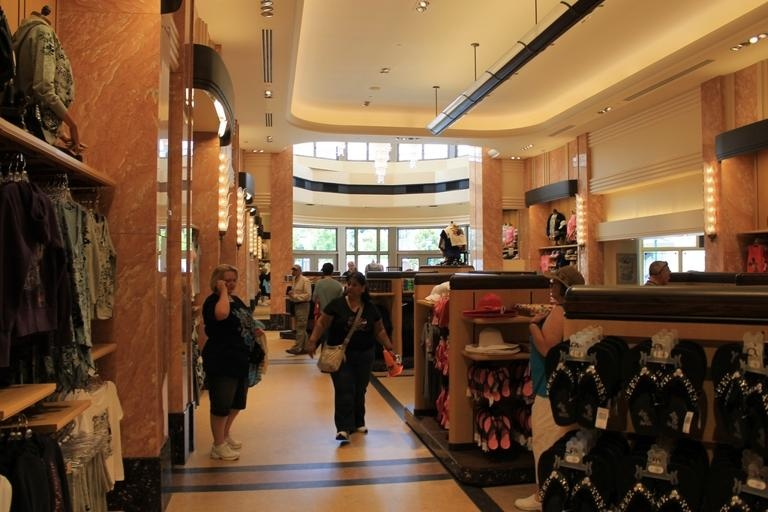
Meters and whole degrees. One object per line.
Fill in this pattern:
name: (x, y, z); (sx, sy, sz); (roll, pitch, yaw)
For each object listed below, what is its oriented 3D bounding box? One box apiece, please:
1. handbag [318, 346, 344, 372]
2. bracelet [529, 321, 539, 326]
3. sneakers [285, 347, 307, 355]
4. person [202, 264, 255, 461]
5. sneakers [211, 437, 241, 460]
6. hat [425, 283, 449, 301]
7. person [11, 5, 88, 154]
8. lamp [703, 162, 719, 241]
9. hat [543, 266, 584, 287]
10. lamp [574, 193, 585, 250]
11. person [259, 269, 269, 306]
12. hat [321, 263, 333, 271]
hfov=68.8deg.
handbag: (-0.534, 1.078, 5.865); (0.203, 0.250, 0.151); (21, -14, 15)
bracelet: (1.196, 0.531, 4.465); (0.050, 0.051, 0.050); (0, 1, -34)
sneakers: (-1.622, 1.769, 10.462); (0.367, 0.164, 0.133); (8, -10, -33)
person: (-1.500, 1.033, 5.472); (0.464, 1.878, 0.330); (-2, 2, -42)
sneakers: (-1.534, 1.910, 5.483); (0.189, 0.087, 0.252); (-1, -2, 0)
hat: (0.629, 0.414, 6.449); (0.245, 0.094, 0.194); (-22, 0, 3)
person: (-2.191, -1.145, 3.662); (0.304, 0.841, 0.546); (-1, 1, -19)
lamp: (5.542, -0.957, 9.511); (0.205, 1.298, 0.219); (0, 1, 29)
hat: (1.885, 0.207, 5.840); (0.404, 0.221, 0.306); (21, 3, 21)
lamp: (4.719, -0.856, 13.467); (0.177, 1.271, 0.419); (-1, 1, -14)
person: (-4.850, 1.177, 22.900); (0.351, 1.488, 2.287); (-1, 2, -11)
hat: (-0.982, 0.224, 9.889); (0.141, 0.210, 0.202); (5, -8, -11)
